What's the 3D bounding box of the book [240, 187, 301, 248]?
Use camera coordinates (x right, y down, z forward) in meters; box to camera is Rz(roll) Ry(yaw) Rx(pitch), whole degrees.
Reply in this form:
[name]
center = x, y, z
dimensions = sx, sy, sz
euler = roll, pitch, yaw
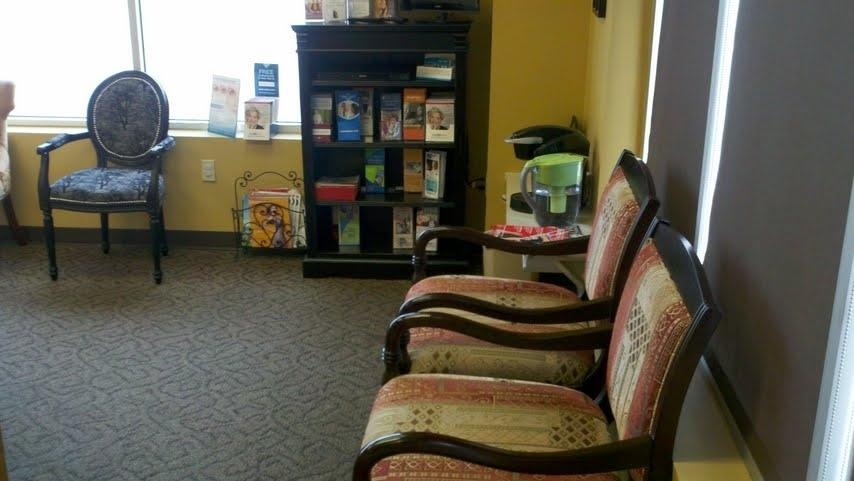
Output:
[book]
center = -1.141, -0.162, 4.715
dimensions = 0.465, 0.339, 0.230
euler = 1, 13, 0
